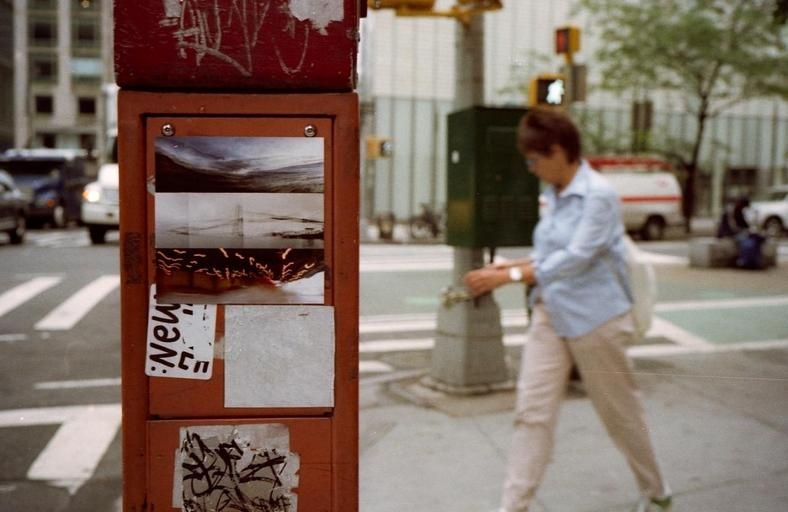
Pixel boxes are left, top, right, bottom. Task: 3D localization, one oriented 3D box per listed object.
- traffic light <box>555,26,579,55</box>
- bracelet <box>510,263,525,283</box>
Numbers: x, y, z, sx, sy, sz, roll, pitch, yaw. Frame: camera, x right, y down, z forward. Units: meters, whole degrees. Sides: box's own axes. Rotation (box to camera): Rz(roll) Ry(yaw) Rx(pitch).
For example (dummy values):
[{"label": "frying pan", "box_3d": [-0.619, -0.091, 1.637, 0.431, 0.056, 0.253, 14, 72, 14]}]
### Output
[{"label": "traffic light", "box_3d": [1.861, -2.296, 8.902, 0.227, 0.323, 0.398, -2, 6, -7]}, {"label": "bracelet", "box_3d": [0.807, 0.114, 5.539, 0.077, 0.108, 0.106, 1, 7, 2]}]
